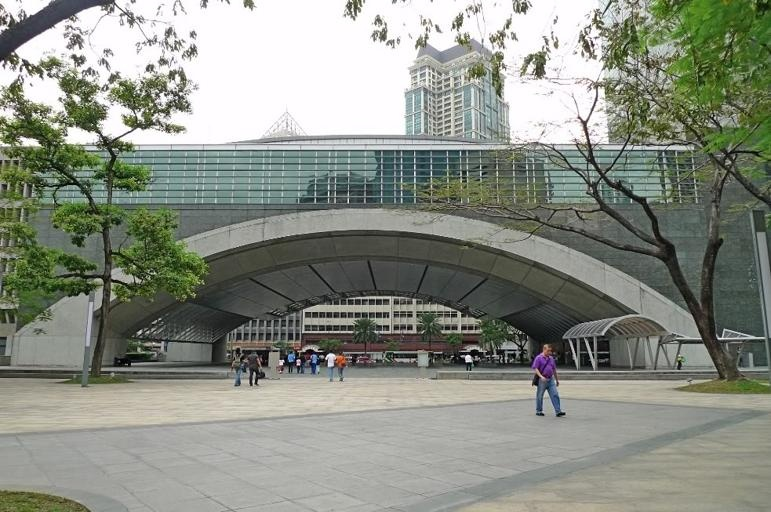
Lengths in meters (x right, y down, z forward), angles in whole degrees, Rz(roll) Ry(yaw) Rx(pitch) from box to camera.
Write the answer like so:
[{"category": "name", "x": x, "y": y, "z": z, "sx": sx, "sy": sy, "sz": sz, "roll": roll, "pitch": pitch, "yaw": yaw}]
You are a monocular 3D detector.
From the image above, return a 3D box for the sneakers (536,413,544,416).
[{"category": "sneakers", "x": 4.053, "y": 4.127, "z": 14.214, "sx": 0.173, "sy": 0.061, "sz": 0.078, "roll": -3, "pitch": -4, "yaw": 20}]

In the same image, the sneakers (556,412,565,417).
[{"category": "sneakers", "x": 4.522, "y": 4.069, "z": 13.969, "sx": 0.217, "sy": 0.076, "sz": 0.117, "roll": -11, "pitch": -12, "yaw": 28}]
